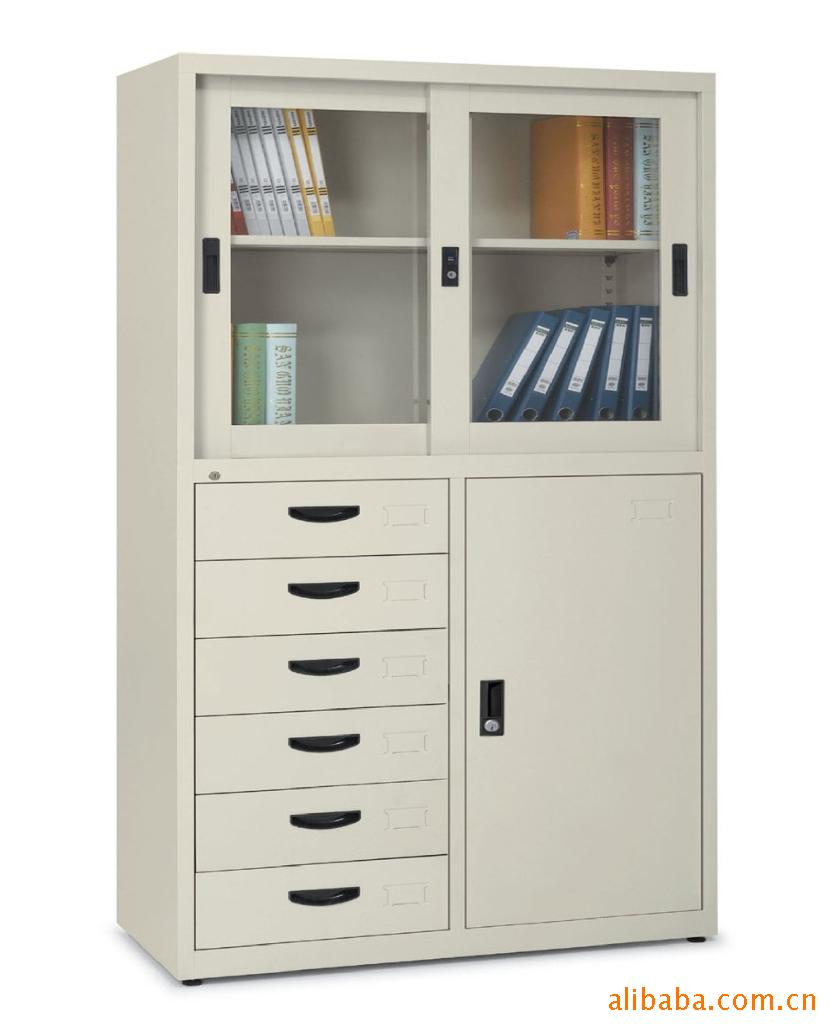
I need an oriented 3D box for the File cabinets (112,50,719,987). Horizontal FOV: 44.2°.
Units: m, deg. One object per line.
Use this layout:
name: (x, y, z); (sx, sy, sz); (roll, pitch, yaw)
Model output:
File cabinets: (0.057, 0.013, 2.250); (1.449, 1.761, 1.095); (7, -32, -10)
